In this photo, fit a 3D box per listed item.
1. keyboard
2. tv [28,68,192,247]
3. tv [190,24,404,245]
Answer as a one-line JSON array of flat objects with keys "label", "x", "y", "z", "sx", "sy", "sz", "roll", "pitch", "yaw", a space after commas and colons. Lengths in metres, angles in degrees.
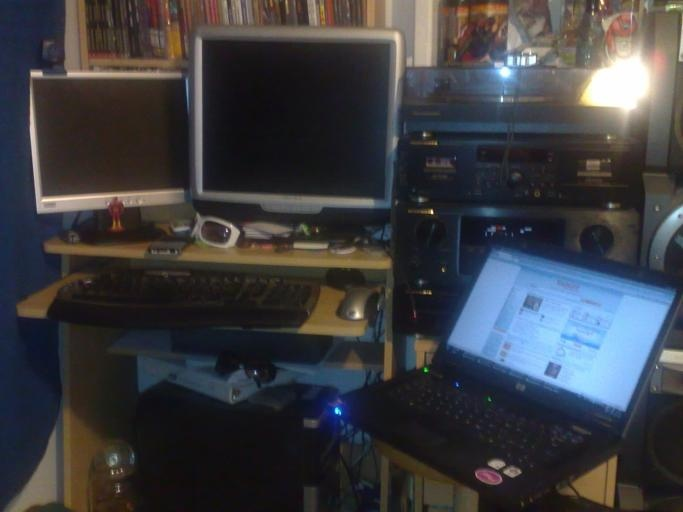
[{"label": "keyboard", "x": -0.445, "y": 0.123, "z": 1.864, "sx": 0.761, "sy": 0.089, "sz": 0.296, "roll": 2, "pitch": 19, "yaw": 1}, {"label": "tv", "x": -0.726, "y": -0.318, "z": 1.985, "sx": 0.470, "sy": 0.558, "sz": 0.170, "roll": -2, "pitch": 6, "yaw": -17}, {"label": "tv", "x": -0.129, "y": -0.377, "z": 1.885, "sx": 0.538, "sy": 0.577, "sz": 0.210, "roll": 2, "pitch": 9, "yaw": 7}]
